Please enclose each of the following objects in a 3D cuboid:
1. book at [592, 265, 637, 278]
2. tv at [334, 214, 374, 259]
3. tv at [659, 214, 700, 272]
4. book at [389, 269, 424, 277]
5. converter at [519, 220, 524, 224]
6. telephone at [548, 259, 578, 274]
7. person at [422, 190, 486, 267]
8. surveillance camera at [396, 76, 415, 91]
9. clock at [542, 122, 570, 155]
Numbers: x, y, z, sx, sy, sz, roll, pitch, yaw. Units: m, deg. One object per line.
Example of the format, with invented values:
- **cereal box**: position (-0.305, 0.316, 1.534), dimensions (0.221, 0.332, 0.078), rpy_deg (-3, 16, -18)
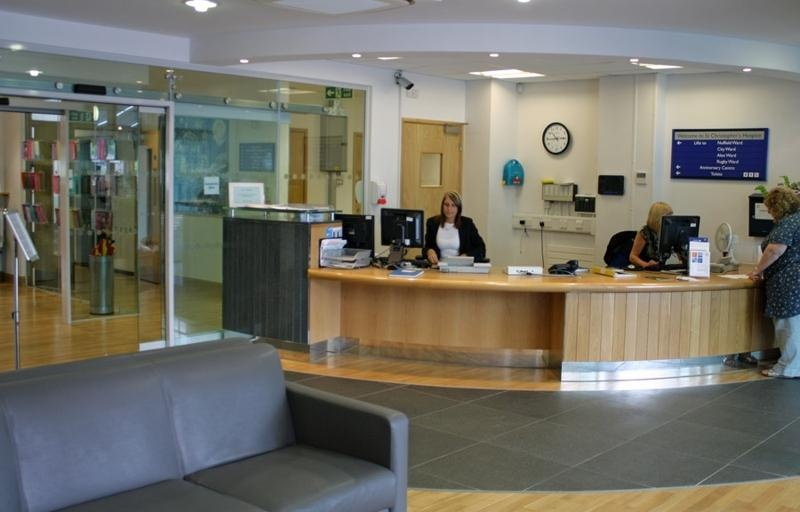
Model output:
- **book**: position (2.572, 0.196, 7.600), dimensions (0.536, 0.090, 0.435), rpy_deg (5, 14, 18)
- **tv**: position (-0.585, -0.243, 7.842), dimensions (0.566, 0.519, 0.184), rpy_deg (3, 8, 16)
- **tv**: position (3.586, -0.181, 8.054), dimensions (0.405, 0.680, 0.542), rpy_deg (10, 17, 34)
- **book**: position (0.061, 0.206, 7.381), dimensions (0.374, 0.045, 0.232), rpy_deg (3, 13, 9)
- **converter**: position (2.181, -0.605, 11.250), dimensions (0.108, 0.055, 0.075), rpy_deg (-3, -2, 31)
- **telephone**: position (1.973, 0.130, 7.604), dimensions (0.302, 0.126, 0.184), rpy_deg (0, 2, 2)
- **person**: position (0.746, -0.400, 8.511), dimensions (0.840, 0.901, 0.506), rpy_deg (1, 14, 2)
- **surveillance camera**: position (0.060, -2.774, 10.124), dimensions (0.281, 0.203, 0.318), rpy_deg (1, 13, 3)
- **clock**: position (2.728, -2.063, 10.968), dimensions (0.607, 0.631, 0.094), rpy_deg (3, 3, 38)
